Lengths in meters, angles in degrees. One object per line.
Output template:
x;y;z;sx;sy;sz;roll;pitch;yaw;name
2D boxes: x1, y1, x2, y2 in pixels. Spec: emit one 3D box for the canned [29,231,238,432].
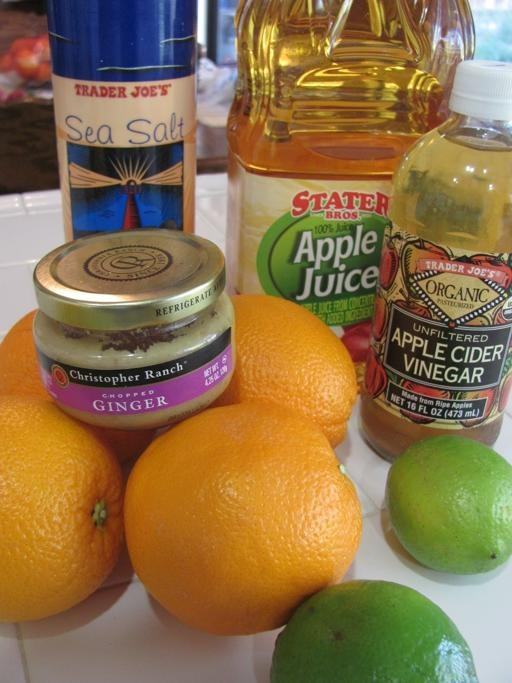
-0.079;-0.013;0.418;0.135;0.087;0.120;3;34;5;canned
